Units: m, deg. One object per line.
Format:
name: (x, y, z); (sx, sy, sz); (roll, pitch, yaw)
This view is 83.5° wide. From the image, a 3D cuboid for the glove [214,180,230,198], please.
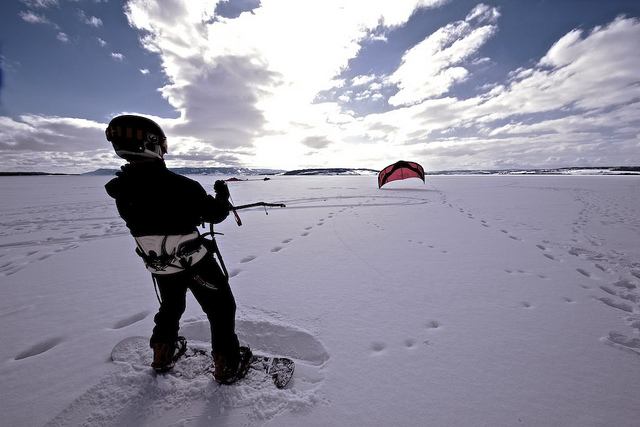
glove: (-1.673, -0.421, 6.058); (0.226, 0.269, 0.195); (-2, 11, -16)
